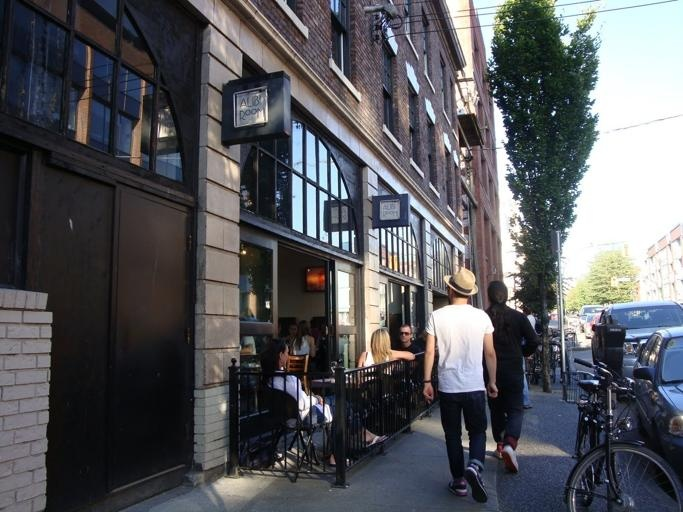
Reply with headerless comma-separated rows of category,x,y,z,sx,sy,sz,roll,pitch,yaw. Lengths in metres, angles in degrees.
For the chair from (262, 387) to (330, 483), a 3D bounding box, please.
chair,-0.531,2.115,7.156,0.870,1.448,0.928,-2,-7,10
